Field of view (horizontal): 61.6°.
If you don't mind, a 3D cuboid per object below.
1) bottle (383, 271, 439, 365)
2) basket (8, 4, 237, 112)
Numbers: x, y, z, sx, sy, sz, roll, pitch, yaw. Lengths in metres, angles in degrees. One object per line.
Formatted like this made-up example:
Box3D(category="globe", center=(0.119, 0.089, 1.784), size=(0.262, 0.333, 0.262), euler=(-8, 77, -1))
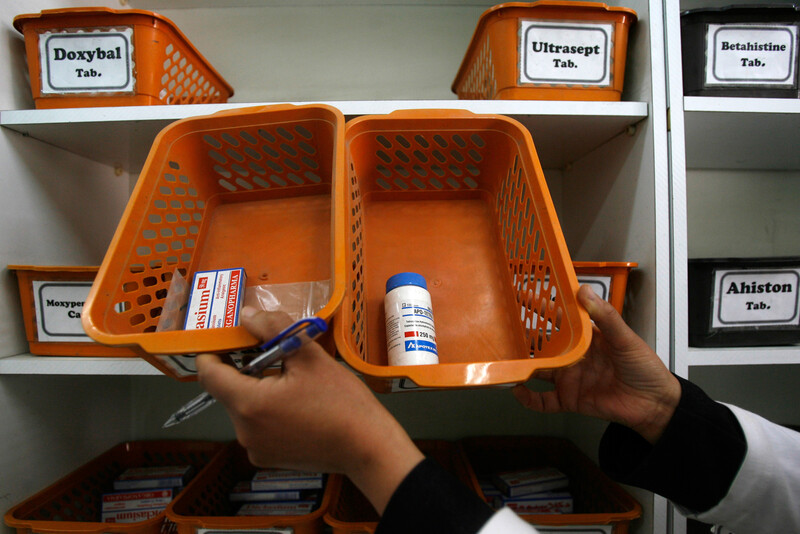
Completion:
Box3D(category="bottle", center=(0.026, 0.139, 1.789), size=(0.129, 0.229, 0.234), euler=(-4, 9, -3))
Box3D(category="basket", center=(-0.894, -0.643, 1.980), size=(0.320, 0.166, 0.495), euler=(-2, 0, 7))
